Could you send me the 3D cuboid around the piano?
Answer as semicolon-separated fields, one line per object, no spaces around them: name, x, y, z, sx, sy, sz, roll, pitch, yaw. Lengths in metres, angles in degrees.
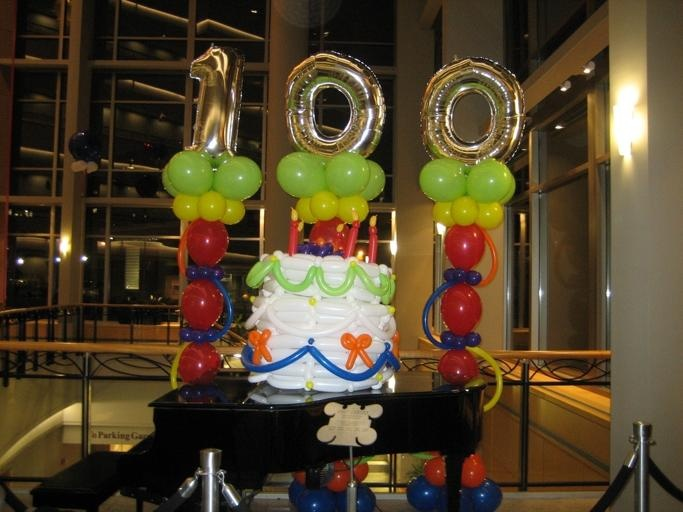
piano;-0.287;1.155;4.659;1.412;0.813;1.088;-1;-9;2
